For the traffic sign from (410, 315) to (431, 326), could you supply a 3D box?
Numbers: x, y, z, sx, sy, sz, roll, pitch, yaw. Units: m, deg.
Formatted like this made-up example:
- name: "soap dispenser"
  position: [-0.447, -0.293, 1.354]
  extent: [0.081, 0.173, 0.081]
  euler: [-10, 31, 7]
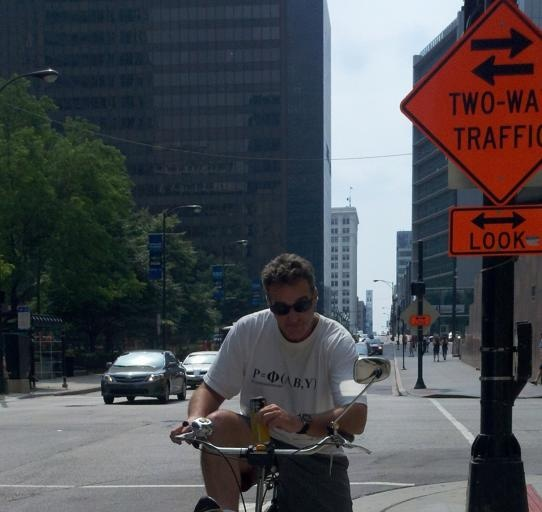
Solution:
- name: "traffic sign"
  position: [4.042, 1.725, 32.018]
  extent: [0.603, 0.277, 0.741]
  euler: [-2, -7, 5]

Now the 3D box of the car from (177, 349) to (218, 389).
- name: "car"
  position: [-1.940, 2.861, 31.191]
  extent: [1.229, 1.273, 3.187]
  euler: [-1, -6, 1]

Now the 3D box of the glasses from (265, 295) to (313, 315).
- name: "glasses"
  position: [0.181, 0.420, 9.881]
  extent: [0.349, 0.143, 0.091]
  euler: [-1, -6, 0]
